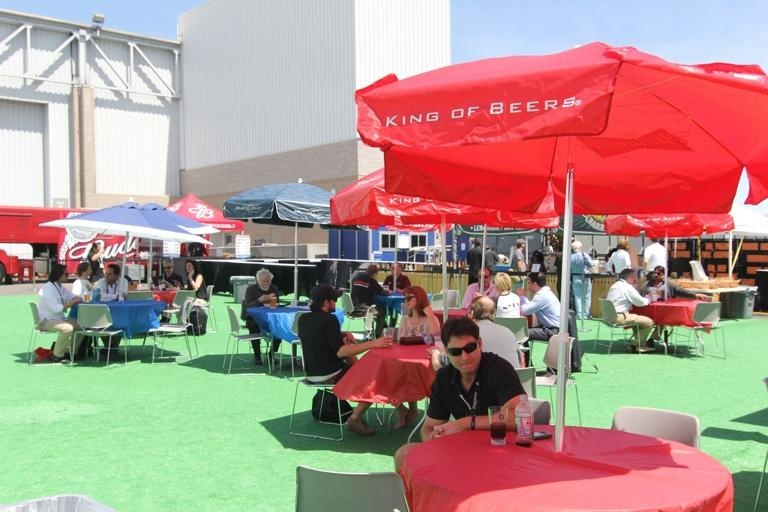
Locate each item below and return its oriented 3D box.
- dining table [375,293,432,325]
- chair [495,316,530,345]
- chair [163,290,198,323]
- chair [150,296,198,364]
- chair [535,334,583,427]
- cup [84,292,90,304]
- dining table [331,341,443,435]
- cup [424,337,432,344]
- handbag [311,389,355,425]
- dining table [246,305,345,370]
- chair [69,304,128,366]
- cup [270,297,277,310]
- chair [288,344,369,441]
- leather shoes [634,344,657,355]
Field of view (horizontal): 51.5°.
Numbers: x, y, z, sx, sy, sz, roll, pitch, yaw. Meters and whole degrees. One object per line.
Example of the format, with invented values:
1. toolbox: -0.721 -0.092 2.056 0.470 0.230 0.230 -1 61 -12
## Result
1. dining table: 0.187 1.074 15.356 0.662 0.459 0.673 -2 -11 4
2. chair: 1.945 1.045 11.672 0.380 0.576 0.416 0 8 21
3. chair: -3.903 0.937 15.142 0.537 0.905 0.685 4 4 1
4. chair: -3.665 1.228 13.701 0.704 0.944 0.650 4 -3 6
5. chair: 2.080 1.566 10.060 0.756 1.110 0.764 0 4 -5
6. cup: -5.209 0.726 13.881 0.134 0.216 0.127 0 -6 0
7. dining table: 0.332 1.532 9.639 0.970 0.562 0.990 -5 11 -28
8. cup: 0.547 1.039 9.913 0.081 0.124 0.081 -1 6 0
9. handbag: -0.685 2.013 10.488 0.461 0.407 0.596 -15 -23 38
10. dining table: -1.396 1.215 12.430 1.430 0.859 1.488 -1 -9 34
11. chair: -4.798 1.256 13.274 0.887 1.145 1.321 -3 8 -22
12. cup: -1.814 0.777 13.079 0.150 0.196 0.141 -1 -23 0
13. chair: -0.788 1.602 10.126 0.797 1.249 0.743 12 -5 5
14. leather shoes: 4.726 1.678 14.358 0.325 0.110 0.171 -3 5 -21
